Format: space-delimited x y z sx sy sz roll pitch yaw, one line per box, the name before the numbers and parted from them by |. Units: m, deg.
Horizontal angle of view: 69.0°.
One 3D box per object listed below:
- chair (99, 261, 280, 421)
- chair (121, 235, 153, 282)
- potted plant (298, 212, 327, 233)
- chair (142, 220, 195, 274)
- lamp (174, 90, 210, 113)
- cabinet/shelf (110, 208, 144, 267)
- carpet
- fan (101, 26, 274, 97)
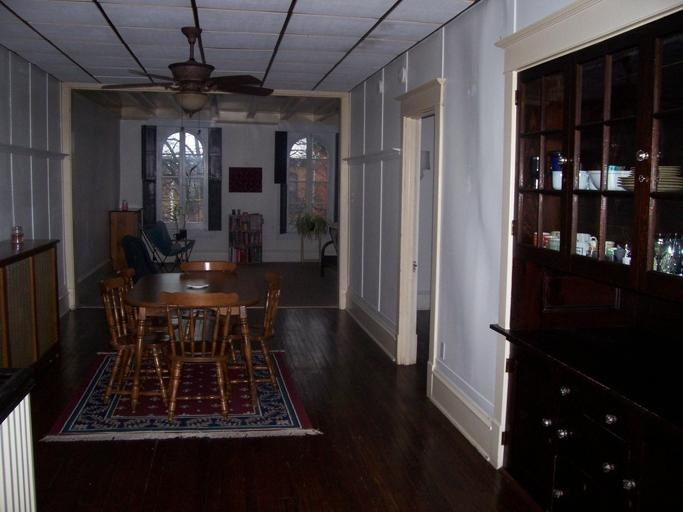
chair | -1.338 0.669 4.430 1.320 0.853 1.367 1 7 1
chair | -2.902 0.035 7.057 0.361 0.703 0.177 -12 18 10
potted plant | -0.714 -0.752 11.761 0.490 0.368 0.496 1 0 -22
chair | -3.516 -0.183 9.997 1.088 1.195 0.863 2 13 0
lamp | -1.229 -1.250 4.048 0.176 0.117 0.182 -1 8 -7
cabinet/shelf | -4.056 -0.326 9.316 0.412 1.077 1.115 -1 7 -12
carpet | -1.321 1.264 4.412 2.174 0.203 1.346 -4 11 -4
fan | -1.225 -1.546 3.983 0.817 0.425 0.890 -12 17 -44
